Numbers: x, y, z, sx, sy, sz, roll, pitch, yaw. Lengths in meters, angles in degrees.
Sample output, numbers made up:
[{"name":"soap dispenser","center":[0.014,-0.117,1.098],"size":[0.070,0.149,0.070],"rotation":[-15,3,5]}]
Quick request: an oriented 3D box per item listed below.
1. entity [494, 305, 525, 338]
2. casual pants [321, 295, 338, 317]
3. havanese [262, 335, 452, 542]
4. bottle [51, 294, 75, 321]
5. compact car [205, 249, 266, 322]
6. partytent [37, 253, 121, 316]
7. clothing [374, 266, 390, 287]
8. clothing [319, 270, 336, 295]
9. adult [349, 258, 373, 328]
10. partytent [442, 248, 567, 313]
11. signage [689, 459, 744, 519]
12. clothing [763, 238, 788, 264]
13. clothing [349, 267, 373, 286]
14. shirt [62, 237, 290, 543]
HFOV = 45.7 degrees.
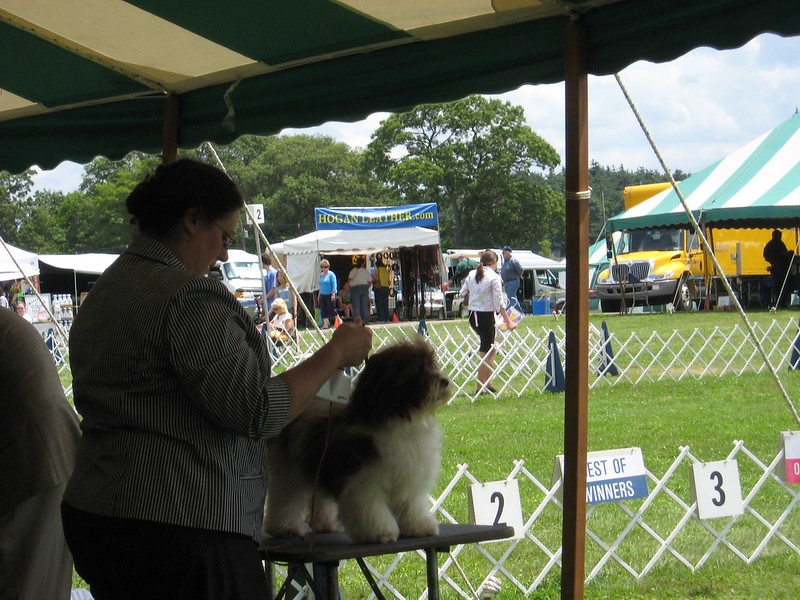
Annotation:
[{"name":"entity","center":[1.310,0.287,10.951],"size":[0.131,0.424,0.289],"rotation":[35,5,-27]},{"name":"casual pants","center":[-1.364,0.127,17.960],"size":[0.322,0.511,0.257],"rotation":[-1,-6,17]},{"name":"havanese","center":[-0.205,0.588,4.039],"size":[0.728,0.868,0.425],"rotation":[0,-2,29]},{"name":"bottle","center":[-8.265,0.197,23.178],"size":[0.230,0.834,0.507],"rotation":[-6,-2,40]},{"name":"compact car","center":[-3.967,-0.307,22.721],"size":[1.370,1.703,2.643],"rotation":[-2,5,-39]},{"name":"partytent","center":[-6.369,-0.362,18.221],"size":[1.551,1.306,1.661],"rotation":[0,-2,-23]},{"name":"clothing","center":[-0.424,-0.511,21.571],"size":[0.385,0.429,0.215],"rotation":[0,3,-26]},{"name":"clothing","center":[-1.378,-0.307,17.976],"size":[0.401,0.474,0.243],"rotation":[-1,-3,20]},{"name":"adult","center":[-0.762,-0.204,18.418],"size":[0.393,1.350,0.395],"rotation":[1,19,2]},{"name":"partytent","center":[3.479,-0.109,29.112],"size":[3.363,2.363,2.305],"rotation":[-5,9,-23]},{"name":"signage","center":[1.921,1.141,5.737],"size":[0.267,0.324,0.106],"rotation":[-6,-3,5]},{"name":"clothing","center":[7.581,-0.949,19.090],"size":[0.525,0.790,0.386],"rotation":[2,5,33]},{"name":"clothing","center":[-0.766,-0.561,18.239],"size":[0.469,0.516,0.289],"rotation":[4,11,6]},{"name":"shirt","center":[-0.893,0.319,3.575],"size":[0.666,1.123,0.858],"rotation":[5,-6,-42]}]
